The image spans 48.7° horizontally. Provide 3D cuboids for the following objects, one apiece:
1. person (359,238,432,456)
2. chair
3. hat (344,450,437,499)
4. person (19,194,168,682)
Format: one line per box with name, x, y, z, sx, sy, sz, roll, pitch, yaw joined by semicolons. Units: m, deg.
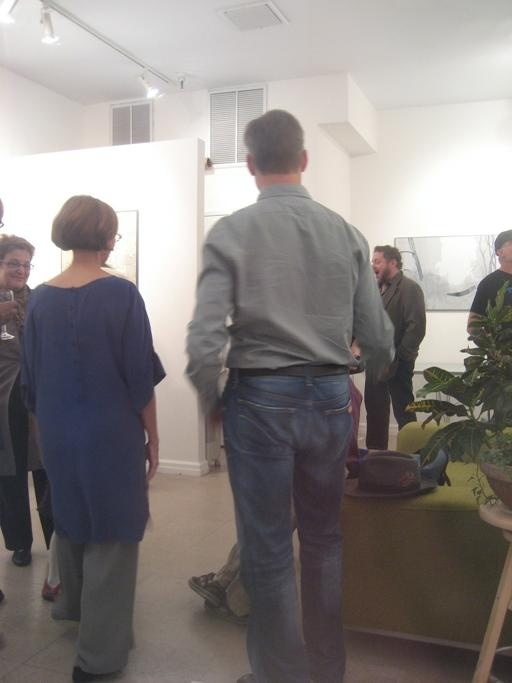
person;0.911;0.088;3.935;0.488;1.504;0.434;-2;29;14
chair;0.537;0.620;1.854;0.467;0.425;0.511;-1;1;11
hat;0.406;0.385;1.795;0.195;0.078;0.178;-4;0;-12
person;-0.472;0.274;1.644;0.383;1.100;0.258;-2;-1;-21
